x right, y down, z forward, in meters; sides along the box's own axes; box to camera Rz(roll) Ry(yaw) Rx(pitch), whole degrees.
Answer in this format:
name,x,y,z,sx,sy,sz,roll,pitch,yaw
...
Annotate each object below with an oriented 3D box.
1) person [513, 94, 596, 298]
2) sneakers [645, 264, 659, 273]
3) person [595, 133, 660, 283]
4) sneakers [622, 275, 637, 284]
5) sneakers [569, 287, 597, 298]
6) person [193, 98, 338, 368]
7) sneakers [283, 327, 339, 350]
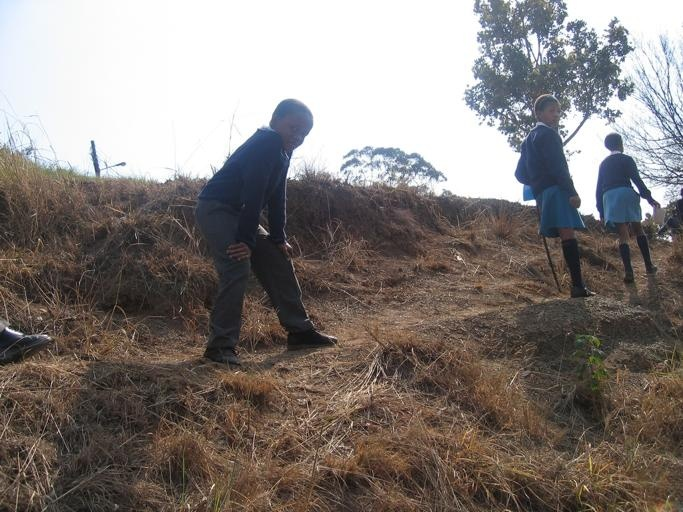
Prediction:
name,x,y,z,sx,sy,sz,roll,pitch,yaw
person,2.447,-0.747,6.346,0.731,2.470,0.734,-4,-5,26
sneakers,4.111,0.175,7.194,0.111,0.101,0.123,-5,9,-16
person,3.763,-0.648,7.162,0.665,2.014,0.694,-2,-5,11
sneakers,3.679,0.308,6.951,0.088,0.132,0.122,6,-14,4
sneakers,2.728,0.427,6.250,0.163,0.101,0.251,-1,-5,2
person,-0.793,-0.233,4.976,1.072,2.341,0.624,0,-5,-18
sneakers,-0.307,0.767,5.196,0.498,0.234,0.191,-3,-4,-11
